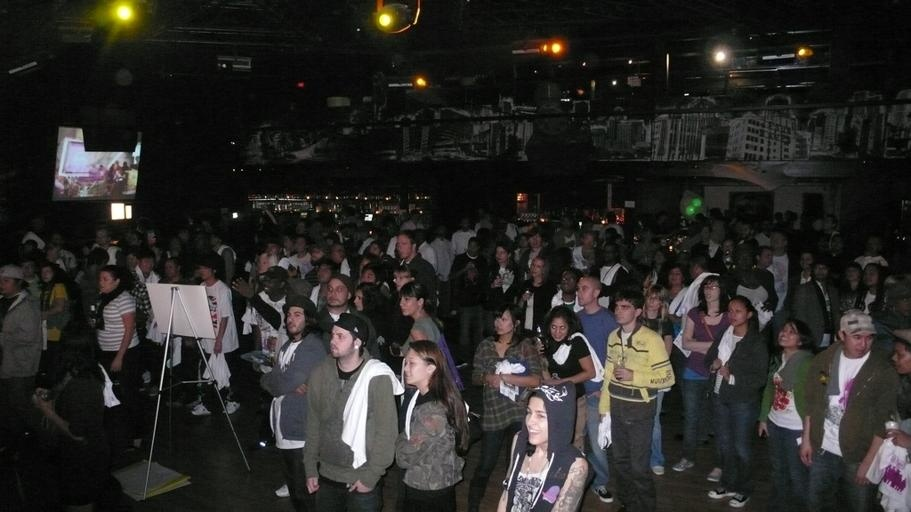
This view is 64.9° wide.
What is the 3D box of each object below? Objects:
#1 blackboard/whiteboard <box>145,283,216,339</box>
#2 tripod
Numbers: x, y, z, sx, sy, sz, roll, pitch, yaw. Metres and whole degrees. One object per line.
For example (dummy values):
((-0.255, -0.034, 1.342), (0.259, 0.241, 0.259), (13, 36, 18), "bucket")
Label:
((-5.548, 1.080, 14.568), (1.491, 1.060, 0.107), (0, 19, 17), "blackboard/whiteboard")
((-5.396, 2.768, 14.850), (1.780, 4.384, 1.756), (1, -1, 2), "tripod")
